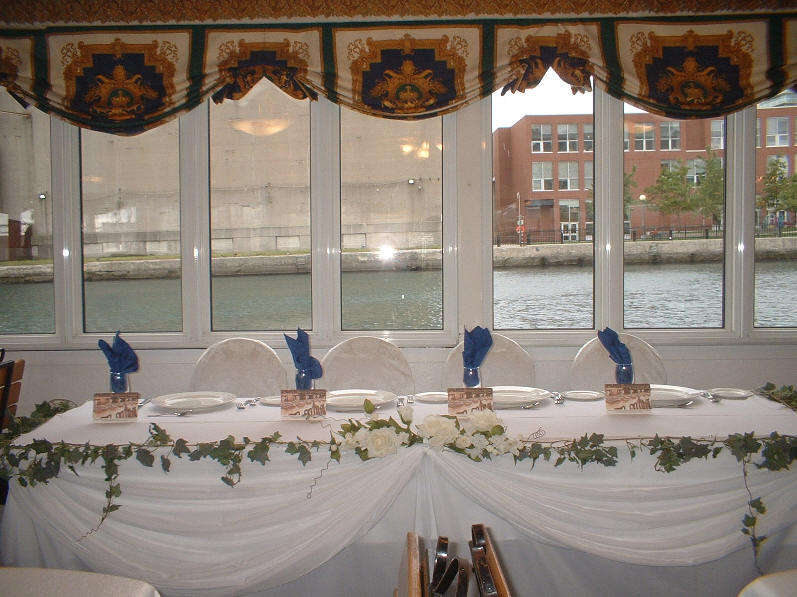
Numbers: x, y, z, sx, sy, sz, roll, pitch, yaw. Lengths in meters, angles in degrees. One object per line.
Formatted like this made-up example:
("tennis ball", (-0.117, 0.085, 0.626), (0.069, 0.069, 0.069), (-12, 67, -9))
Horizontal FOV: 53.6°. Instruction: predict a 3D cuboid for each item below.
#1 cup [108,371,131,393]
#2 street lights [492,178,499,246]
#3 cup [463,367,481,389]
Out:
("cup", (-1.182, 0.345, 3.299), (0.082, 0.094, 0.083), (0, -2, 0))
("street lights", (0.589, -0.534, 4.775), (0.045, 0.408, 0.054), (-3, 13, -13))
("cup", (0.305, 0.328, 3.293), (0.085, 0.118, 0.071), (1, -5, 0))
